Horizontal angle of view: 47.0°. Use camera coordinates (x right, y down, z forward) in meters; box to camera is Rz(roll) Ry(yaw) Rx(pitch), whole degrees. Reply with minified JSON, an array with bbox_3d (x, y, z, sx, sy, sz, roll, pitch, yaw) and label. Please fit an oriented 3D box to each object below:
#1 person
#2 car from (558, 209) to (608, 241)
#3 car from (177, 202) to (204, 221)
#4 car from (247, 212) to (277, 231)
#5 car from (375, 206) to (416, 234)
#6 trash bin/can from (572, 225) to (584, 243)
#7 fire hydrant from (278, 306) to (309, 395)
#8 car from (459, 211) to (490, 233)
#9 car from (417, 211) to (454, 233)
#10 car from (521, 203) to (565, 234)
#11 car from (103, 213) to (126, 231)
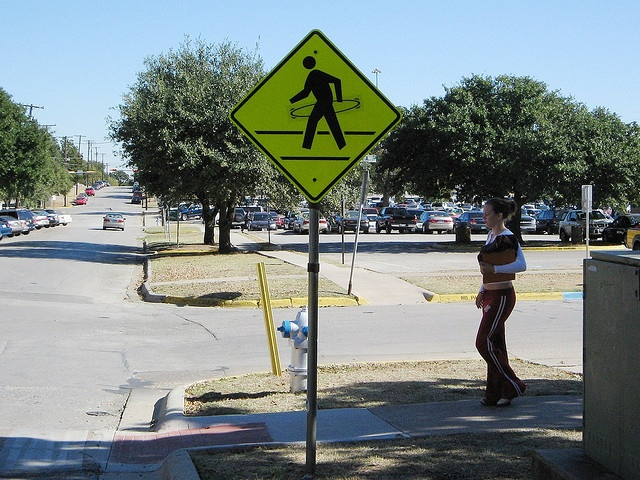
[{"bbox_3d":[1.996,0.713,8.216,0.543,2.353,0.425,0,4,-3],"label":"person"},{"bbox_3d":[14.002,-0.862,39.261,1.373,1.305,2.731,0,-5,-18],"label":"car"},{"bbox_3d":[-12.829,-2.814,73.381,1.656,1.726,3.298,1,4,9],"label":"car"},{"bbox_3d":[-4.384,-1.272,54.103,1.572,1.130,3.418,0,6,-6],"label":"car"},{"bbox_3d":[5.391,-1.378,51.816,1.936,1.822,2.960,-2,4,-29],"label":"car"},{"bbox_3d":[12.923,-0.257,37.064,0.519,0.866,1.394,2,4,17],"label":"trash bin/can"},{"bbox_3d":[-0.342,1.400,9.150,0.350,1.087,0.483,0,4,-4],"label":"fire hydrant"},{"bbox_3d":[7.862,-0.899,37.870,1.358,1.000,2.922,-2,7,-5],"label":"car"},{"bbox_3d":[8.070,-1.189,51.817,2.306,1.607,2.796,1,4,2],"label":"car"},{"bbox_3d":[14.789,-1.272,48.173,1.680,1.376,3.195,-2,5,-41],"label":"car"},{"bbox_3d":[-16.569,-1.467,59.879,1.129,0.788,2.427,0,4,-8],"label":"car"}]
